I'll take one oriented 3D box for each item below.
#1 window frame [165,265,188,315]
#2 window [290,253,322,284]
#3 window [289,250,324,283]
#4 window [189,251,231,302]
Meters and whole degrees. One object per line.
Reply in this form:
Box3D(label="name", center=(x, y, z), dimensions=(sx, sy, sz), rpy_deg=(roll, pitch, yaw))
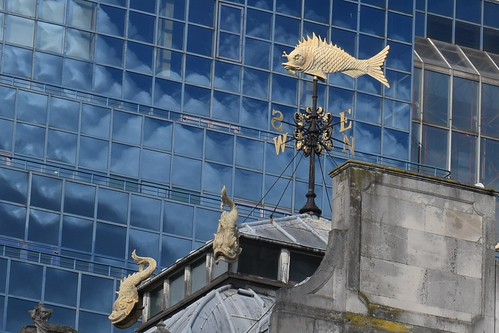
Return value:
Box3D(label="window frame", center=(-4.635, 7.983, 101.790), dimensions=(0.252, 2.948, 2.660), rpy_deg=(14, -23, -32))
Box3D(label="window", center=(3.472, 6.405, 100.153), dimensions=(2.240, 1.810, 0.476), rpy_deg=(1, 2, -15))
Box3D(label="window", center=(3.462, 6.293, 100.153), dimensions=(2.250, 1.828, 0.494), rpy_deg=(-1, 4, -20))
Box3D(label="window", center=(-2.379, 6.938, 99.647), dimensions=(0.135, 1.776, 3.175), rpy_deg=(23, -41, -26))
